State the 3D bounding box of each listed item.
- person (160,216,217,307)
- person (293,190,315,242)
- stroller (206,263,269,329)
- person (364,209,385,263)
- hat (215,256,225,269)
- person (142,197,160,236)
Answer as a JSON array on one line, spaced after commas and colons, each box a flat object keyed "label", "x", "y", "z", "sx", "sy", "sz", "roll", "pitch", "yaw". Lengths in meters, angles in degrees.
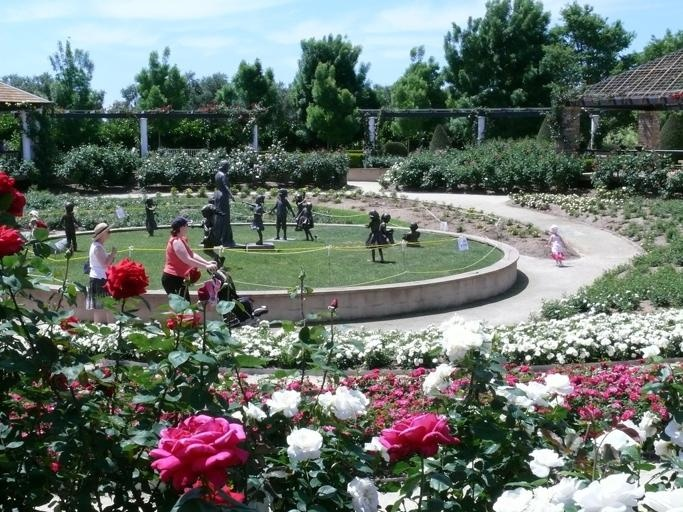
[{"label": "person", "x": -1.812, "y": 0.251, "z": 9.631, "sx": 0.639, "sy": 1.371, "sz": 0.616, "roll": 6, "pitch": 10, "yaw": 38}, {"label": "person", "x": -0.796, "y": -0.899, "z": 18.512, "sx": 0.434, "sy": 0.997, "sz": 0.974, "roll": -2, "pitch": 10, "yaw": -6}, {"label": "stroller", "x": -1.221, "y": 0.487, "z": 9.712, "sx": 0.822, "sy": 0.516, "sz": 0.508, "roll": -18, "pitch": 15, "yaw": 35}, {"label": "person", "x": 0.671, "y": -0.411, "z": 15.738, "sx": 0.346, "sy": 0.924, "sz": 0.922, "roll": 0, "pitch": 10, "yaw": 2}, {"label": "hat", "x": -1.549, "y": 0.073, "z": 10.311, "sx": 0.109, "sy": 0.156, "sz": 0.050, "roll": 5, "pitch": -3, "yaw": 23}, {"label": "person", "x": -4.512, "y": -0.961, "z": 19.199, "sx": 0.257, "sy": 0.829, "sz": 1.171, "roll": -3, "pitch": 10, "yaw": -13}]
